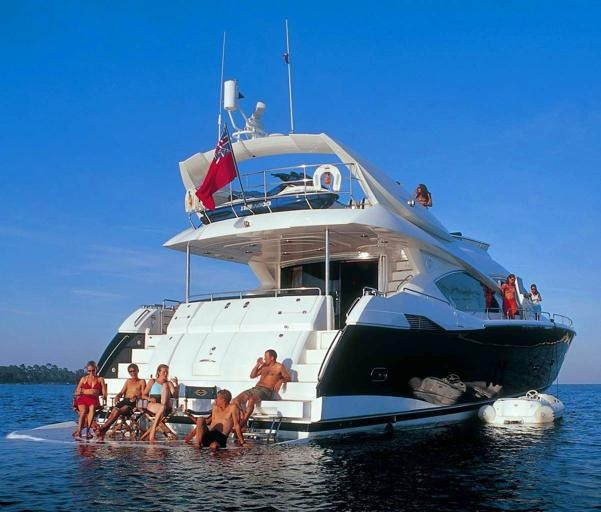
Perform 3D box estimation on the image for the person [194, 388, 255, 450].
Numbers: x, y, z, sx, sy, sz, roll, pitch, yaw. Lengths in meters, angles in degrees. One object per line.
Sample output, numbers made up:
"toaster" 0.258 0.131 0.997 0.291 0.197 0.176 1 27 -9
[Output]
"person" -1.232 2.687 14.143 1.009 0.726 0.515 -9 -41 29
